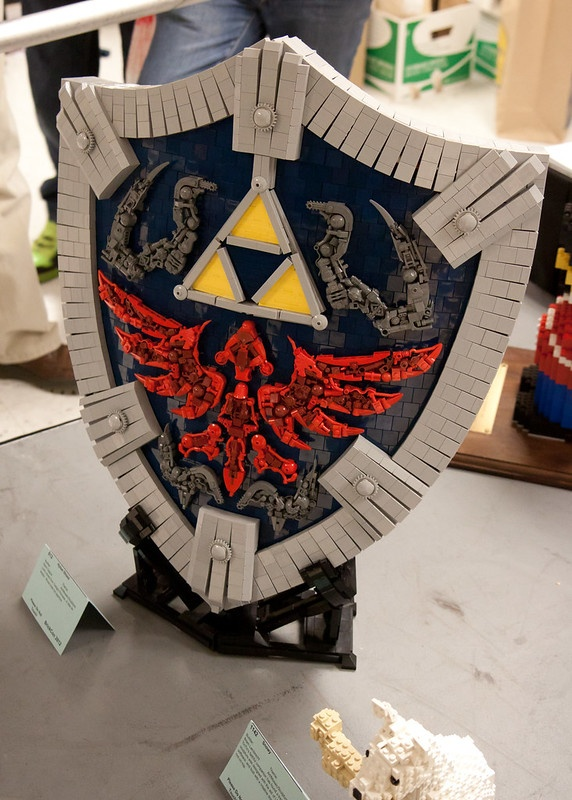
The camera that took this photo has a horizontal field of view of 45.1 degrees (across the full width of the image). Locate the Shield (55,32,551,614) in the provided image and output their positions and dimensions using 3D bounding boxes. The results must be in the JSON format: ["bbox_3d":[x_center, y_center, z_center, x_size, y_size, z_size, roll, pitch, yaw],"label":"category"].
[{"bbox_3d":[-0.084,-0.081,1.493,1.021,1.212,0.474,14,44,20],"label":"Shield"}]
